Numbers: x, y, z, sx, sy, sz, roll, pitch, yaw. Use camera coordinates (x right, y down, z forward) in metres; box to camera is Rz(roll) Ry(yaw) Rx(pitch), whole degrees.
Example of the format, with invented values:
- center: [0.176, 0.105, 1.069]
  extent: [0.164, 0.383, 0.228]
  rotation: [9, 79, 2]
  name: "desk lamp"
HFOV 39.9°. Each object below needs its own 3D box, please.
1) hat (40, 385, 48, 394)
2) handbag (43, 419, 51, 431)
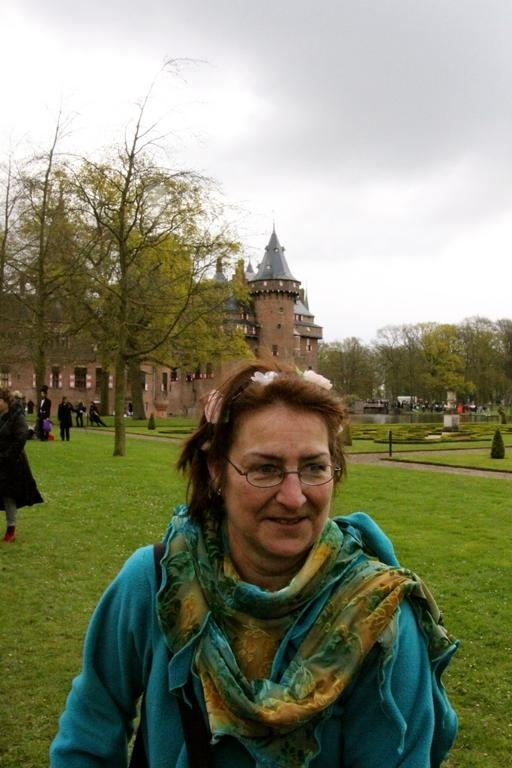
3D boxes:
- center: [-6.502, 0.169, 21.594]
  extent: [0.263, 0.264, 0.304]
  rotation: [0, 3, 15]
  name: "hat"
- center: [-6.351, 1.244, 21.334]
  extent: [0.210, 0.376, 0.267]
  rotation: [-11, -17, 36]
  name: "handbag"
